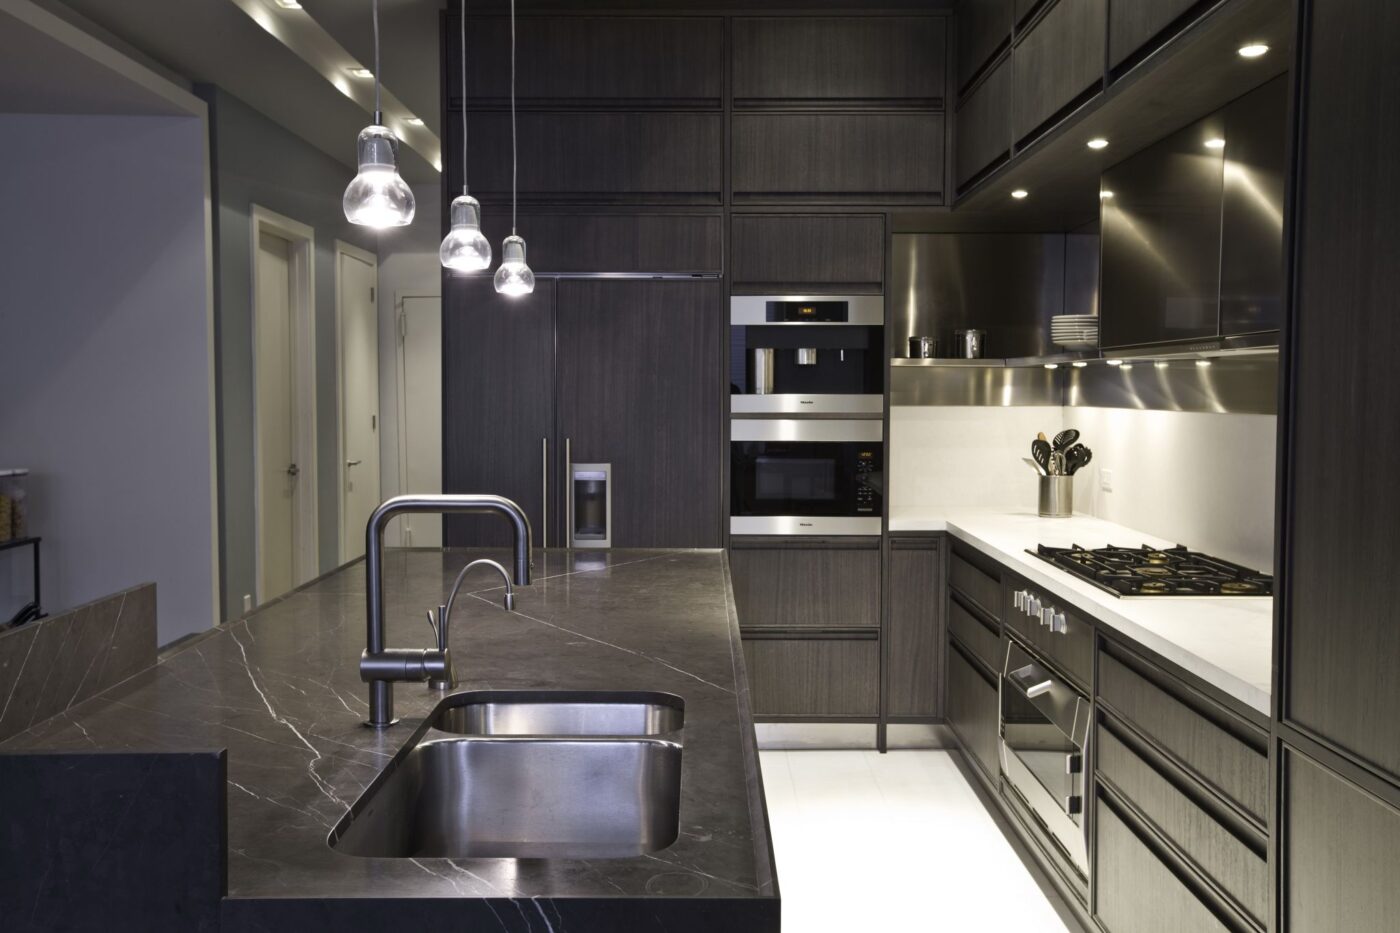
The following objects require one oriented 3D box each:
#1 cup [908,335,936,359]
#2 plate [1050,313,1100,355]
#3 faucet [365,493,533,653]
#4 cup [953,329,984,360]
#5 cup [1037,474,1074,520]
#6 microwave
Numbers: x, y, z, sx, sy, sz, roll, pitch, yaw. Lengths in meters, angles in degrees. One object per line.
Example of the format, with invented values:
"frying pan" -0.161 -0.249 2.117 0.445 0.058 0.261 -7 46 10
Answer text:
"cup" 1.067 -0.571 4.955 0.106 0.120 0.109 0 -2 0
"plate" 1.542 -0.545 4.265 0.198 0.141 0.199 -2 4 -21
"faucet" -0.596 0.230 2.451 0.382 0.348 0.273 -2 14 -8
"cup" 1.286 -0.585 4.937 0.131 0.141 0.146 0 -1 5
"cup" 1.645 0.146 4.803 0.174 0.209 0.183 0 0 0
"microwave" 0.507 0.036 4.807 0.856 0.669 0.487 0 -1 1
